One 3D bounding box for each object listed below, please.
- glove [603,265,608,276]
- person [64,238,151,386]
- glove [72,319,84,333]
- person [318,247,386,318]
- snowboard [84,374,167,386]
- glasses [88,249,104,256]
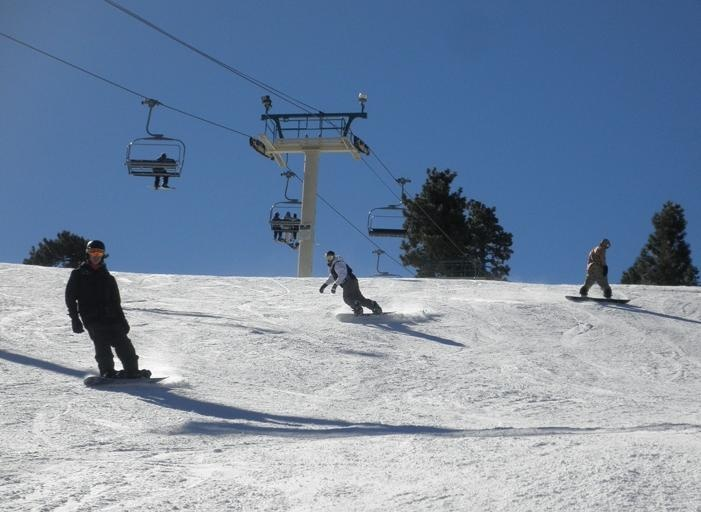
[{"bbox_3d":[6.577,0.363,22.954,0.082,0.296,0.174,-5,9,2],"label":"glove"},{"bbox_3d":[-3.904,0.833,13.988,1.047,2.206,0.901,-8,9,-17],"label":"person"},{"bbox_3d":[-4.250,1.077,13.826,0.161,0.265,0.423,-8,9,-17],"label":"glove"},{"bbox_3d":[-0.022,0.671,21.291,1.197,1.564,0.943,-5,9,-2],"label":"person"},{"bbox_3d":[-3.396,1.899,13.713,1.335,0.203,0.339,5,-1,-24],"label":"snowboard"},{"bbox_3d":[-3.960,-0.052,13.794,0.239,0.134,0.242,-7,8,-15],"label":"glasses"}]
